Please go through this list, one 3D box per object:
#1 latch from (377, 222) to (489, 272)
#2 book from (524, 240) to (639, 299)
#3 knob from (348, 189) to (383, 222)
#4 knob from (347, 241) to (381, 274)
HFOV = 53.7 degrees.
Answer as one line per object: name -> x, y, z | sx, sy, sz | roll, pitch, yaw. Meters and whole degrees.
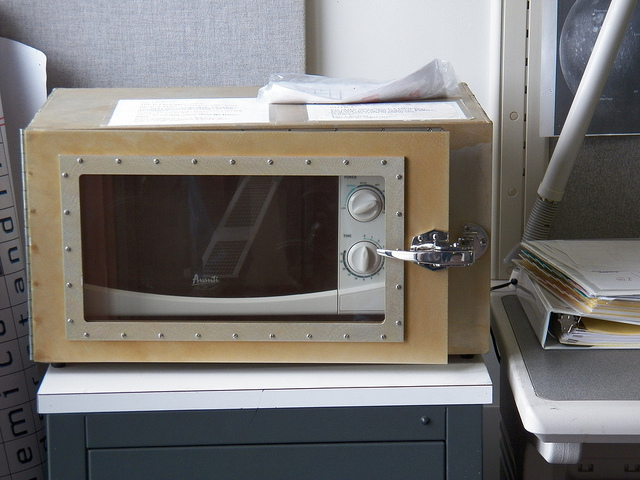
latch -> 0.217, 0.016, 1.184 | 0.215, 0.081, 0.047 | -5, 10, -12
book -> 0.527, 0.061, 1.328 | 0.093, 0.062, 0.305 | -6, 11, -16
knob -> 0.083, -0.066, 1.177 | 0.054, 0.058, 0.019 | -19, 7, 7
knob -> 0.083, 0.030, 1.188 | 0.056, 0.061, 0.019 | 4, 1, 6
